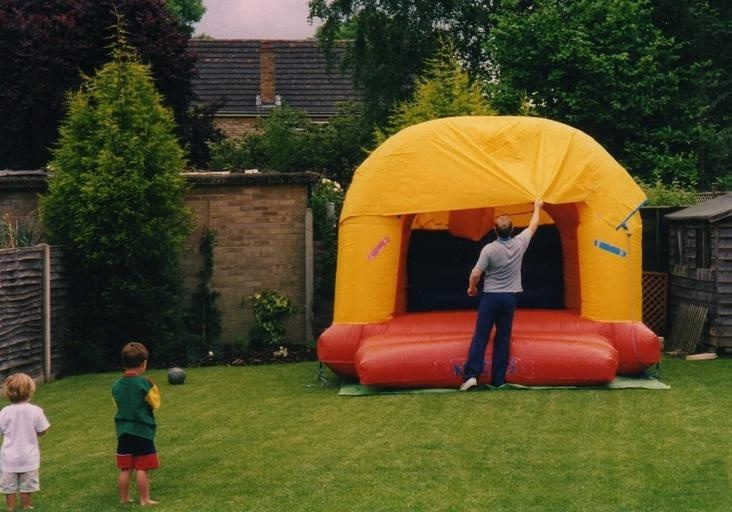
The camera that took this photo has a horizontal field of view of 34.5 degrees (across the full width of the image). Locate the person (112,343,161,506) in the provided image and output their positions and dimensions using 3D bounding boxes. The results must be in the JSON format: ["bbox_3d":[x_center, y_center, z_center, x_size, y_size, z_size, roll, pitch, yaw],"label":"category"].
[{"bbox_3d":[-3.365,2.420,17.263,0.664,2.323,0.510,-1,3,-8],"label":"person"}]

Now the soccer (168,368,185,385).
[{"bbox_3d":[-3.409,2.113,21.391,0.309,0.278,0.286,1,26,-20],"label":"soccer"}]
